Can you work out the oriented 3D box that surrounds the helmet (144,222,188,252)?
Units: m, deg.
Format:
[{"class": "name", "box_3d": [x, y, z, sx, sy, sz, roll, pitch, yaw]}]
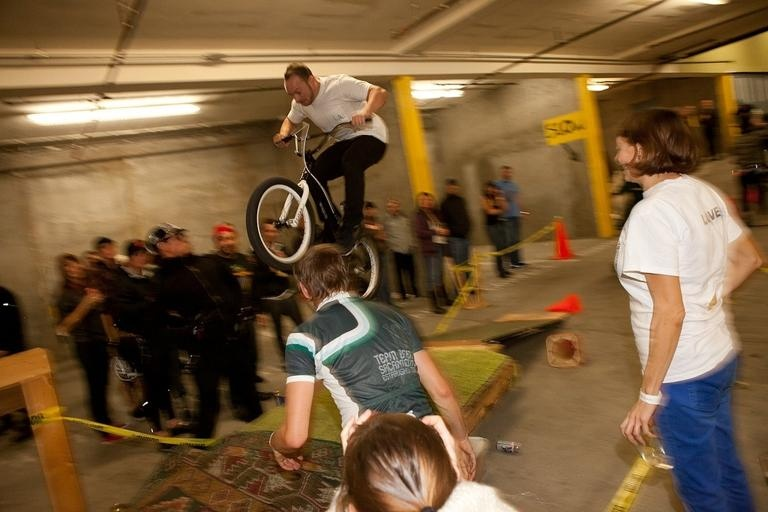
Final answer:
[{"class": "helmet", "box_3d": [-2.112, -0.173, 4.764, 0.411, 0.145, 0.265, -15, 32, 50]}]

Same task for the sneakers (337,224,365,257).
[{"class": "sneakers", "box_3d": [-0.353, -0.152, 4.793, 0.148, 0.163, 0.401, -6, 27, 31]}]

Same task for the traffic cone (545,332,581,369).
[{"class": "traffic cone", "box_3d": [1.836, 0.946, 5.041, 0.360, 0.316, 0.223, -4, 5, 9]}]

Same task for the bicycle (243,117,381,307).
[{"class": "bicycle", "box_3d": [-0.834, -0.373, 5.571, 1.471, 1.265, 2.301, -9, -15, 30]}]
